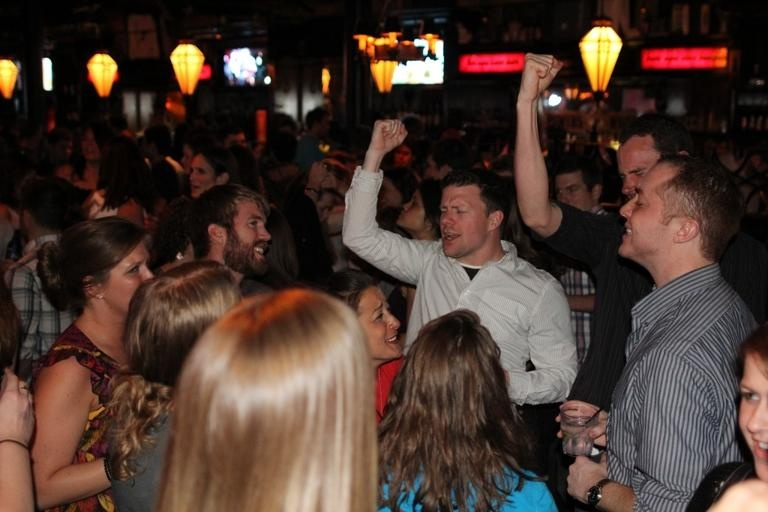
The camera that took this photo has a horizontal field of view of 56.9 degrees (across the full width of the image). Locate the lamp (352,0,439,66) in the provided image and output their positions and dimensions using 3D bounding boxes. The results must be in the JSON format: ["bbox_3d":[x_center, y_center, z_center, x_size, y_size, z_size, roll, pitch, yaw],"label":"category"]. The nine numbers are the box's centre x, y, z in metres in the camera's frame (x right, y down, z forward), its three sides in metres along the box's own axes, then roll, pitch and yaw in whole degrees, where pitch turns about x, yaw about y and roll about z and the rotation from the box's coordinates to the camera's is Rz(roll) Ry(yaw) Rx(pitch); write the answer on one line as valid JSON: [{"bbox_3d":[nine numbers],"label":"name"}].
[{"bbox_3d":[0.143,-2.958,9.289,0.914,0.405,1.030,2,-2,2],"label":"lamp"}]

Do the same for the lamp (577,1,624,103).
[{"bbox_3d":[2.539,-2.302,8.371,0.471,0.850,0.440,0,5,-27],"label":"lamp"}]

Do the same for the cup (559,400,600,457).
[{"bbox_3d":[0.866,0.777,3.172,0.236,0.235,0.203,1,-5,4],"label":"cup"}]
